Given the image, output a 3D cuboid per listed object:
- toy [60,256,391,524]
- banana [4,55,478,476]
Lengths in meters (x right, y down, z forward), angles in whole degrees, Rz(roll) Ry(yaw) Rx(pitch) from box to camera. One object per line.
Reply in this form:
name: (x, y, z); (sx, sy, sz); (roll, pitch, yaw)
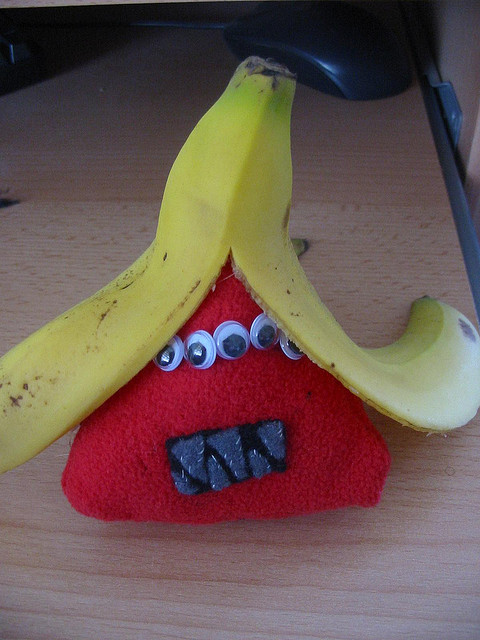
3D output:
toy: (-0.009, 0.045, 0.336); (0.163, 0.133, 0.074); (-3, 20, -8)
banana: (0.009, -0.031, 0.407); (0.340, 0.223, 0.134); (-4, 24, -8)
